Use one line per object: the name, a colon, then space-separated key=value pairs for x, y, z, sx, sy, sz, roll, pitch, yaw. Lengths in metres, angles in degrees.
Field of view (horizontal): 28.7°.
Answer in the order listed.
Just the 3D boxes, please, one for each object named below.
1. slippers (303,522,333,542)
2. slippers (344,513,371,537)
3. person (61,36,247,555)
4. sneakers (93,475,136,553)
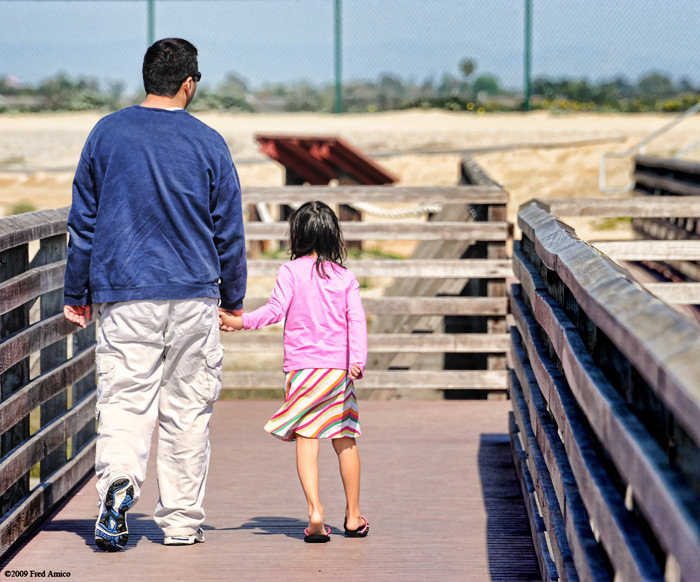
slippers: x=-0.129 y=1.019 z=5.842 sx=0.088 sy=0.077 sz=0.171 roll=1 pitch=1 yaw=0
slippers: x=0.038 y=1.003 z=5.902 sx=0.081 sy=0.081 sz=0.118 roll=0 pitch=-8 yaw=3
person: x=-0.787 y=0.018 z=5.637 sx=0.756 sy=2.109 sz=0.328 roll=-2 pitch=8 yaw=-14
sneakers: x=-0.962 y=0.912 z=5.598 sx=0.125 sy=0.379 sz=0.160 roll=3 pitch=10 yaw=-13
